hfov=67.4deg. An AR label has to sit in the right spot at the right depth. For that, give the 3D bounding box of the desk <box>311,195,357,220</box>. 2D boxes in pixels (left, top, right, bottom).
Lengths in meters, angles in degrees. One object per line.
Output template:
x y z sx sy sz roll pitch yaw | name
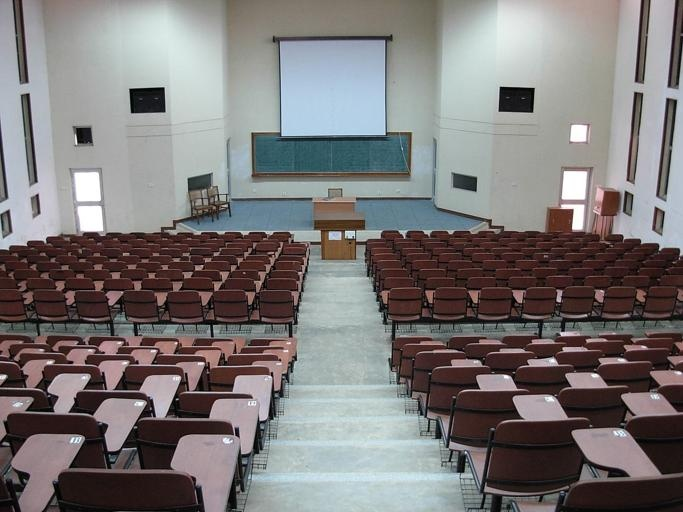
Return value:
-0.263 -1.613 17.098 1.349 0.712 0.869 1 7 -7 | desk

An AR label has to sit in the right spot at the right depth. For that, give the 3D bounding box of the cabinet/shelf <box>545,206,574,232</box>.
7.648 -1.283 18.176 0.998 1.126 0.755 0 5 3 | cabinet/shelf

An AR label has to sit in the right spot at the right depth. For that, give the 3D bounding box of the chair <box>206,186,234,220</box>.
-4.671 -2.164 19.818 0.985 1.609 0.992 17 25 37 | chair
